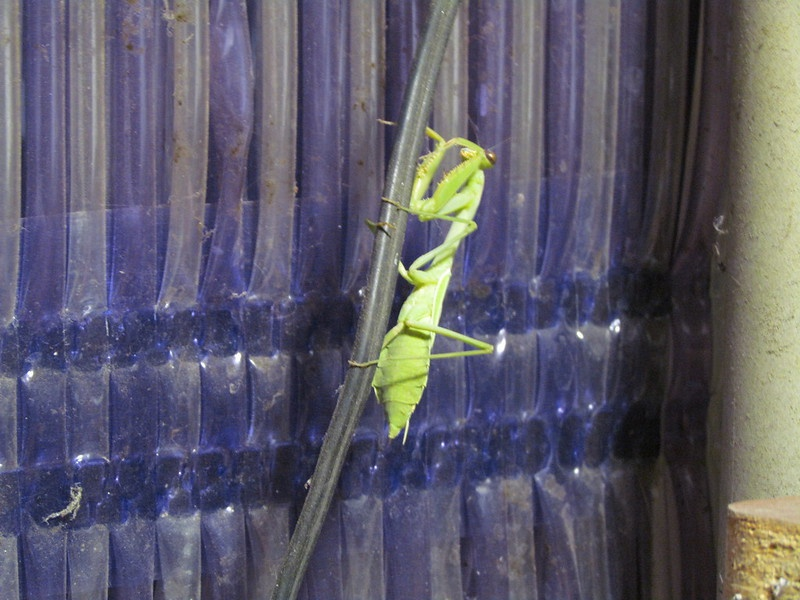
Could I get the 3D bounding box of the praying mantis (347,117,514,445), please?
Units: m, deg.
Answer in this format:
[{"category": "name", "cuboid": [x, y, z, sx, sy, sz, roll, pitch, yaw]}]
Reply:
[{"category": "praying mantis", "cuboid": [0.062, -0.045, 4.275, 0.162, 0.637, 0.437, 9, -1, 22]}]
